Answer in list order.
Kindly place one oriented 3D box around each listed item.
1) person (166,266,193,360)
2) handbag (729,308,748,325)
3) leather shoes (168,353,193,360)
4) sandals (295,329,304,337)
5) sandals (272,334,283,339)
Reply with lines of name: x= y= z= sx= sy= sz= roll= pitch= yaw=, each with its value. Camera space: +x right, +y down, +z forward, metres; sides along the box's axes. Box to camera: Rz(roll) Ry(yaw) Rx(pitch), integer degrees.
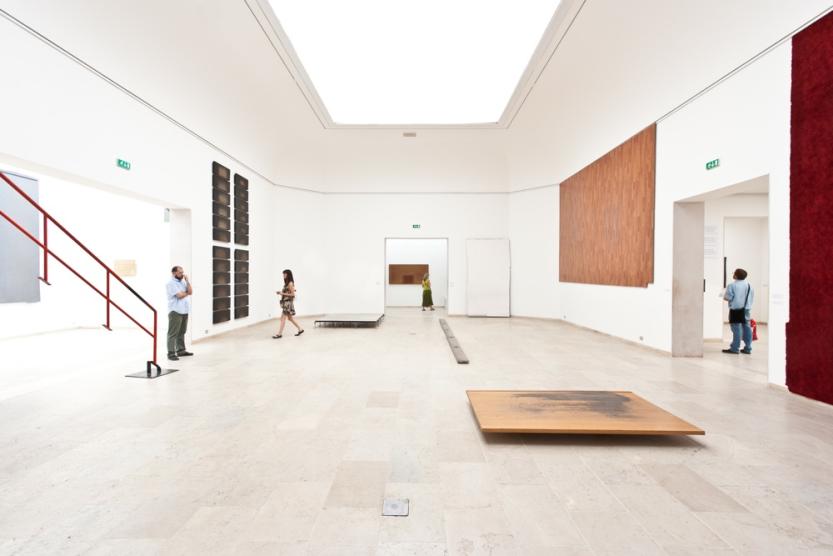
person: x=-5.150 y=0.742 z=9.976 sx=0.474 sy=1.979 sz=0.514 roll=-2 pitch=5 yaw=-29
handbag: x=7.251 y=0.868 z=10.398 sx=0.317 sy=0.351 sz=0.205 roll=3 pitch=5 yaw=36
leather shoes: x=-5.136 y=1.697 z=10.010 sx=0.497 sy=0.192 sz=0.164 roll=0 pitch=1 yaw=-21
sandals: x=-3.269 y=1.533 z=12.769 sx=0.272 sy=0.121 sz=0.098 roll=-21 pitch=3 yaw=18
sandals: x=-3.715 y=1.564 z=12.256 sx=0.206 sy=0.080 sz=0.112 roll=2 pitch=-1 yaw=-1
